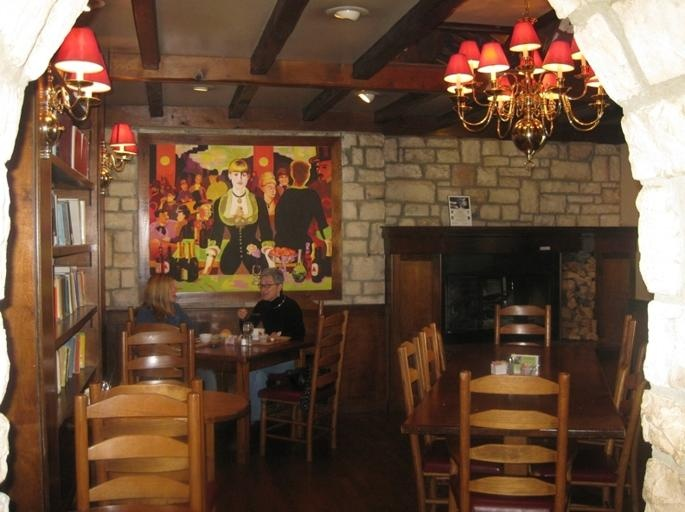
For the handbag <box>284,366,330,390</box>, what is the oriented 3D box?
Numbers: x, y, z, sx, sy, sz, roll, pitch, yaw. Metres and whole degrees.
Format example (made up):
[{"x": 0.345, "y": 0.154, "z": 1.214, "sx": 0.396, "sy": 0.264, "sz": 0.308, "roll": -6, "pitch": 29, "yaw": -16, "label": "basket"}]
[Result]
[{"x": -0.290, "y": 0.998, "z": 5.087, "sx": 0.275, "sy": 0.118, "sz": 0.347, "roll": 0, "pitch": -2, "yaw": -13, "label": "handbag"}]

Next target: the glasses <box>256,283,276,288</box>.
[{"x": -0.694, "y": 0.270, "z": 5.695, "sx": 0.156, "sy": 0.052, "sz": 0.074, "roll": 1, "pitch": 3, "yaw": 21, "label": "glasses"}]

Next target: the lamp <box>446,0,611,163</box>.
[{"x": 1.169, "y": -1.026, "z": 3.940, "sx": 1.076, "sy": 0.845, "sz": 0.998, "roll": 0, "pitch": 1, "yaw": -9, "label": "lamp"}]

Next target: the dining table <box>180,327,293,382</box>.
[{"x": -0.789, "y": 0.666, "z": 5.041, "sx": 0.645, "sy": 0.327, "sz": 0.490, "roll": 2, "pitch": 5, "yaw": 34, "label": "dining table"}]

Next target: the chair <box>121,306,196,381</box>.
[{"x": -1.296, "y": 0.720, "z": 4.405, "sx": 0.458, "sy": 0.465, "sz": 0.671, "roll": -1, "pitch": 3, "yaw": -16, "label": "chair"}]
